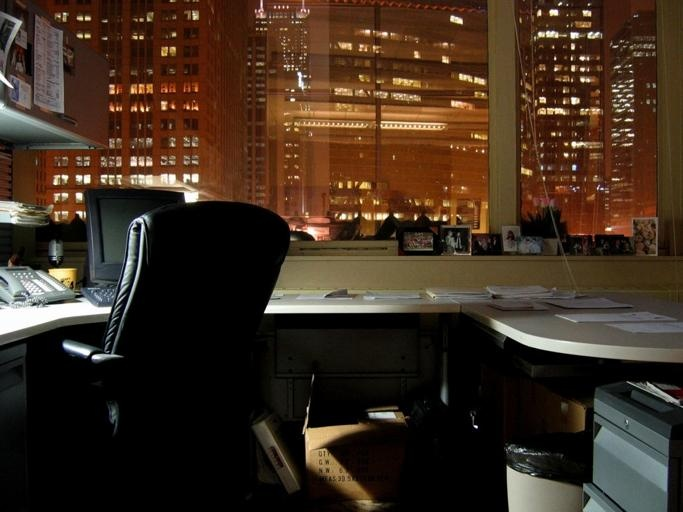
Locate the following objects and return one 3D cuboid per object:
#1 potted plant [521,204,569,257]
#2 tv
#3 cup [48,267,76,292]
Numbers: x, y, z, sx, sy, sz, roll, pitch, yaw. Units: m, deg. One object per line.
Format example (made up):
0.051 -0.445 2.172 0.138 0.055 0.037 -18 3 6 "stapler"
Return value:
1.430 -0.185 4.409 0.289 0.376 0.287 -1 3 -25 "potted plant"
-1.028 -0.091 3.099 0.426 0.471 0.242 2 5 -30 "tv"
-1.614 0.114 3.723 0.135 0.179 0.159 0 2 -11 "cup"
